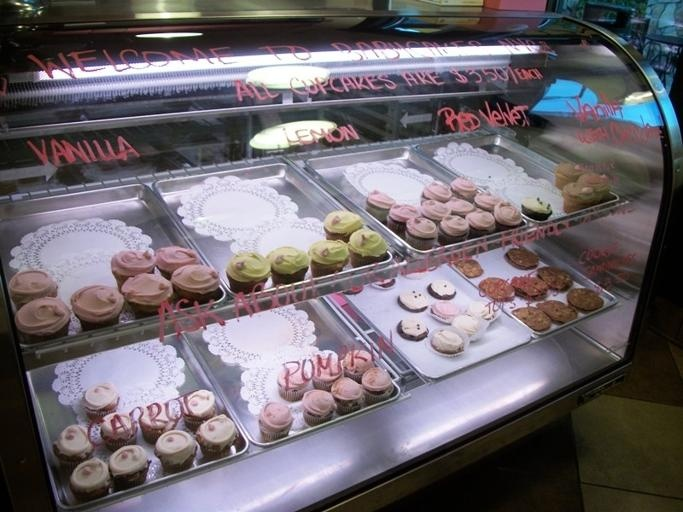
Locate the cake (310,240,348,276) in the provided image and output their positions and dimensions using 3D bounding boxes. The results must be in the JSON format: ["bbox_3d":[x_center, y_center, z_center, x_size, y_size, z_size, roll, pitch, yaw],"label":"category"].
[{"bbox_3d":[-0.043,0.004,1.634,0.114,0.095,0.126,23,34,30],"label":"cake"}]

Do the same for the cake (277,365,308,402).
[{"bbox_3d":[-0.178,0.455,1.851,0.129,0.091,0.133,3,26,-7],"label":"cake"}]

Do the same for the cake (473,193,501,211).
[{"bbox_3d":[0.574,-0.219,1.982,0.094,0.027,0.075,-15,48,-17],"label":"cake"}]

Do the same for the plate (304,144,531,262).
[{"bbox_3d":[0.262,-0.275,1.795,0.649,0.072,0.555,-19,47,-37],"label":"plate"}]

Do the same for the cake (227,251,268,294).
[{"bbox_3d":[-0.278,0.048,1.484,0.118,0.075,0.126,6,39,5],"label":"cake"}]

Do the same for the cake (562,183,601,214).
[{"bbox_3d":[0.970,-0.242,2.054,0.157,0.054,0.134,-29,48,-28],"label":"cake"}]

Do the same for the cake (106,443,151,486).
[{"bbox_3d":[-0.643,0.634,1.514,0.124,0.080,0.121,9,18,-6],"label":"cake"}]

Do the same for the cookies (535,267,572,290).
[{"bbox_3d":[0.991,0.099,2.350,0.129,0.027,0.106,32,47,32],"label":"cookies"}]

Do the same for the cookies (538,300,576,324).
[{"bbox_3d":[0.967,0.243,2.245,0.130,0.015,0.102,28,45,31],"label":"cookies"}]

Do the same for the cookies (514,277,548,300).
[{"bbox_3d":[0.868,0.141,2.308,0.117,0.032,0.114,-18,40,-25],"label":"cookies"}]

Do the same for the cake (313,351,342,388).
[{"bbox_3d":[-0.057,0.422,1.858,0.125,0.075,0.117,2,29,-5],"label":"cake"}]

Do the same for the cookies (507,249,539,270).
[{"bbox_3d":[0.873,0.020,2.420,0.123,0.026,0.112,-12,43,-18],"label":"cookies"}]

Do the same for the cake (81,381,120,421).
[{"bbox_3d":[-0.774,0.459,1.607,0.115,0.076,0.116,9,24,-10],"label":"cake"}]

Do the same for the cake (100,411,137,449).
[{"bbox_3d":[-0.705,0.549,1.626,0.130,0.089,0.109,6,33,-9],"label":"cake"}]

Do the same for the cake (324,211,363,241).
[{"bbox_3d":[0.001,-0.093,1.742,0.128,0.072,0.100,-13,49,-24],"label":"cake"}]

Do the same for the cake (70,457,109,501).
[{"bbox_3d":[-0.739,0.653,1.467,0.113,0.077,0.116,-12,38,-39],"label":"cake"}]

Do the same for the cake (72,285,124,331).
[{"bbox_3d":[-0.651,0.133,1.337,0.123,0.076,0.123,-27,47,-30],"label":"cake"}]

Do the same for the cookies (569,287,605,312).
[{"bbox_3d":[1.100,0.196,2.261,0.126,0.026,0.118,-29,52,-31],"label":"cookies"}]

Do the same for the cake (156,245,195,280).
[{"bbox_3d":[-0.486,0.009,1.473,0.101,0.035,0.106,31,42,16],"label":"cake"}]

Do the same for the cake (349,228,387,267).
[{"bbox_3d":[0.083,-0.024,1.699,0.135,0.104,0.122,-3,44,-5],"label":"cake"}]

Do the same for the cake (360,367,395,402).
[{"bbox_3d":[0.128,0.473,1.852,0.120,0.084,0.121,1,30,-4],"label":"cake"}]

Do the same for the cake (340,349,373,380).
[{"bbox_3d":[0.060,0.408,1.906,0.121,0.055,0.102,-1,29,-2],"label":"cake"}]

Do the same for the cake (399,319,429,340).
[{"bbox_3d":[0.303,0.311,2.143,0.102,0.021,0.095,-20,41,-34],"label":"cake"}]

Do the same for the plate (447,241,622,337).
[{"bbox_3d":[0.873,0.149,2.314,0.540,0.055,0.578,-17,39,-23],"label":"plate"}]

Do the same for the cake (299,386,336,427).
[{"bbox_3d":[-0.082,0.524,1.755,0.119,0.084,0.123,2,26,-5],"label":"cake"}]

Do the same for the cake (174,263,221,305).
[{"bbox_3d":[-0.405,0.078,1.405,0.129,0.079,0.113,9,35,-12],"label":"cake"}]

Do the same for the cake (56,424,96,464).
[{"bbox_3d":[-0.803,0.560,1.526,0.107,0.073,0.109,13,24,-25],"label":"cake"}]

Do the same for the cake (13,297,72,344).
[{"bbox_3d":[-0.751,0.162,1.302,0.129,0.104,0.111,19,33,-10],"label":"cake"}]

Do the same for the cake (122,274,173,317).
[{"bbox_3d":[-0.528,0.101,1.413,0.134,0.100,0.117,15,33,-5],"label":"cake"}]

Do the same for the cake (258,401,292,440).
[{"bbox_3d":[-0.223,0.558,1.736,0.118,0.088,0.119,10,30,-10],"label":"cake"}]

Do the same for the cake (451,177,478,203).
[{"bbox_3d":[0.503,-0.266,2.044,0.104,0.061,0.105,38,36,25],"label":"cake"}]

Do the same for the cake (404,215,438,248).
[{"bbox_3d":[0.290,-0.080,1.843,0.120,0.065,0.113,28,44,13],"label":"cake"}]

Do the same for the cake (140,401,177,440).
[{"bbox_3d":[-0.593,0.530,1.634,0.124,0.076,0.120,6,24,-10],"label":"cake"}]

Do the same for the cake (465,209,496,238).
[{"bbox_3d":[0.533,-0.124,1.963,0.121,0.092,0.104,8,33,7],"label":"cake"}]

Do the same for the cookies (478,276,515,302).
[{"bbox_3d":[0.716,0.151,2.318,0.112,0.033,0.125,-19,41,-34],"label":"cookies"}]

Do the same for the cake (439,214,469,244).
[{"bbox_3d":[0.411,-0.097,1.915,0.126,0.085,0.105,1,35,-3],"label":"cake"}]

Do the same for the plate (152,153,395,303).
[{"bbox_3d":[-0.317,-0.128,1.733,0.563,0.055,0.524,-13,46,-34],"label":"plate"}]
